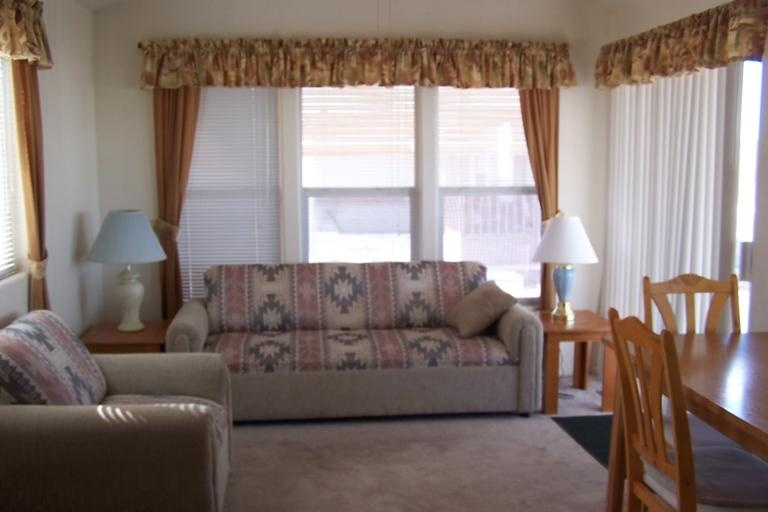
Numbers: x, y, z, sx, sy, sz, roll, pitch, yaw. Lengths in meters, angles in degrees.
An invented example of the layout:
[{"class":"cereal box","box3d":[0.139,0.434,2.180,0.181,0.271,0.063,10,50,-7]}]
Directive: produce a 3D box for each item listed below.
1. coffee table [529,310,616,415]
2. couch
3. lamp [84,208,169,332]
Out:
[{"class":"coffee table","box3d":[1.549,0.763,5.539,0.601,0.773,1.083,-2,7,0]},{"class":"couch","box3d":[-0.207,0.657,5.336,2.737,1.151,0.760,-1,6,-4]},{"class":"lamp","box3d":[-2.116,0.116,5.411,0.540,0.965,0.602,-5,7,-34]}]
